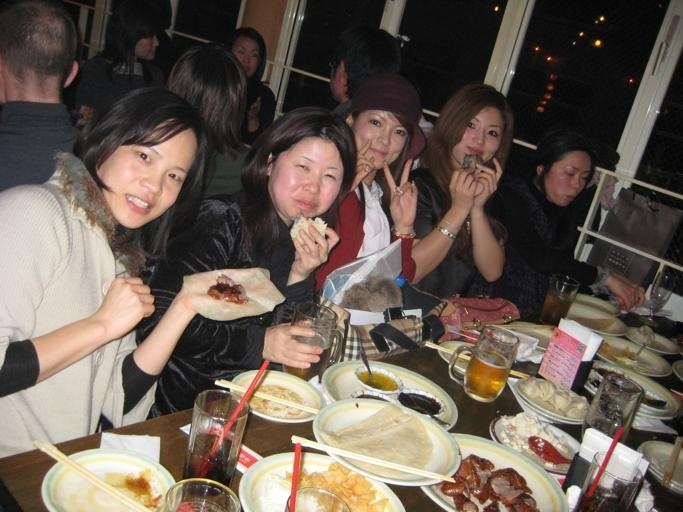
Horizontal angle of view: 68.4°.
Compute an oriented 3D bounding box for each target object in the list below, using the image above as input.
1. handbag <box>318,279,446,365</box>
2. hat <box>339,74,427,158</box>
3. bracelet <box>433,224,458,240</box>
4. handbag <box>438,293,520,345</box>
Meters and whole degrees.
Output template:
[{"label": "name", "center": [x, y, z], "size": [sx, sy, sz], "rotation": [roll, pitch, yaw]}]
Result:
[{"label": "handbag", "center": [0.239, 0.332, 2.338], "size": [0.388, 0.160, 0.384], "rotation": [-7, 14, -28]}, {"label": "hat", "center": [0.277, -0.977, 3.348], "size": [0.563, 0.433, 0.443], "rotation": [26, -7, 45]}, {"label": "bracelet", "center": [0.724, -0.162, 3.463], "size": [0.105, 0.033, 0.093], "rotation": [24, -3, -3]}, {"label": "handbag", "center": [0.839, 0.354, 3.046], "size": [0.469, 0.130, 0.272], "rotation": [-11, 32, -26]}]
